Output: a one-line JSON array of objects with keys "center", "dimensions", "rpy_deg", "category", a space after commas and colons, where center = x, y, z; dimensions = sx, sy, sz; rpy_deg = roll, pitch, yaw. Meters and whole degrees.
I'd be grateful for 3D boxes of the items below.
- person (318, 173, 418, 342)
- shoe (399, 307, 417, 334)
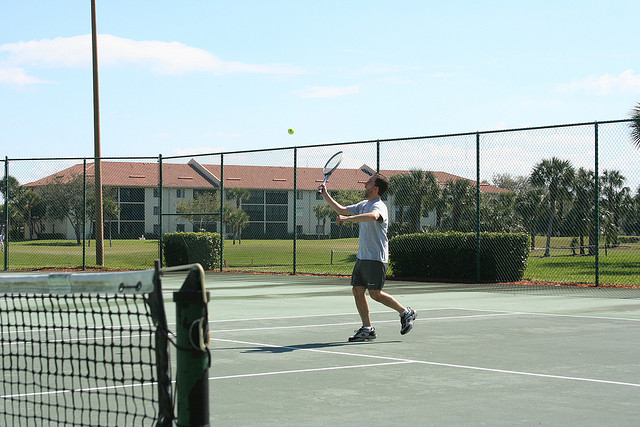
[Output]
[{"center": [0.747, 0.599, 10.766], "dimensions": [1.177, 2.471, 1.184], "rpy_deg": [-1, -2, -19], "category": "person"}, {"center": [1.262, 1.542, 10.814], "dimensions": [0.226, 0.474, 0.155], "rpy_deg": [18, -13, -9], "category": "shoe"}]
